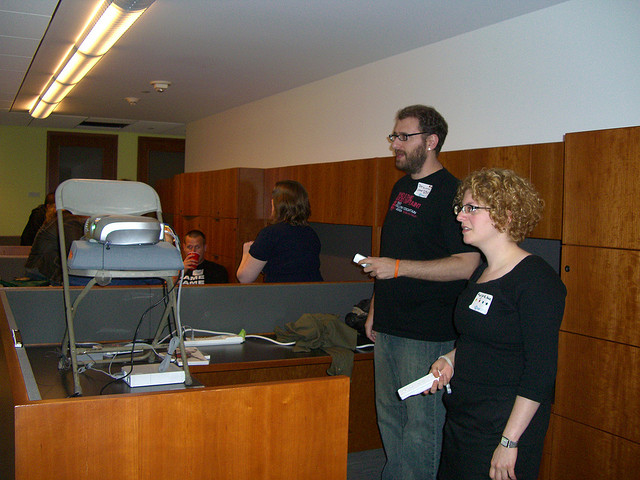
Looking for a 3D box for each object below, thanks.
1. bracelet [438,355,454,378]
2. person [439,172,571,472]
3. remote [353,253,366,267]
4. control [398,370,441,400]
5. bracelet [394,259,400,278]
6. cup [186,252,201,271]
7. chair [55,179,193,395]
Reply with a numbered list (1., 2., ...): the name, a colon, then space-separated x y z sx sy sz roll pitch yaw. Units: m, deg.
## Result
1. bracelet: 0.553 0.540 2.370 0.047 0.083 0.157 -1 0 -9
2. person: 0.728 0.352 2.216 0.491 1.252 0.301 -1 0 13
3. remote: 0.211 0.098 2.831 0.086 0.066 0.048 10 -23 -21
4. control: 0.415 0.586 2.316 0.234 0.060 0.062 -28 13 -29
5. bracelet: 0.372 0.135 2.651 0.014 0.060 0.062 8 17 2
6. cup: -0.996 0.153 4.262 0.150 0.167 0.150 -1 2 0
7. chair: -0.882 0.166 2.494 0.557 0.863 0.667 -1 0 -26
